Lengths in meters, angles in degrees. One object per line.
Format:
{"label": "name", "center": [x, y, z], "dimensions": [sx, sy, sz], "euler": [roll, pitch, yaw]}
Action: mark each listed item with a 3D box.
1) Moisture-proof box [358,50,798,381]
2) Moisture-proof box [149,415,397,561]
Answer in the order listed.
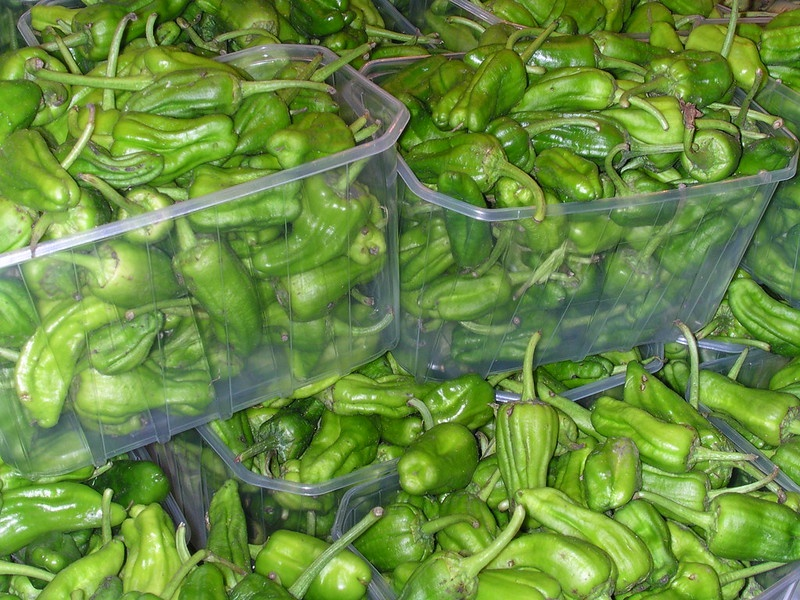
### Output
{"label": "Moisture-proof box", "center": [0.529, -0.347, 2.541], "dimensions": [1.151, 0.644, 0.905], "euler": [-11, 44, -12]}
{"label": "Moisture-proof box", "center": [-0.505, 0.594, 2.480], "dimensions": [0.589, 0.286, 0.468], "euler": [20, 30, 30]}
